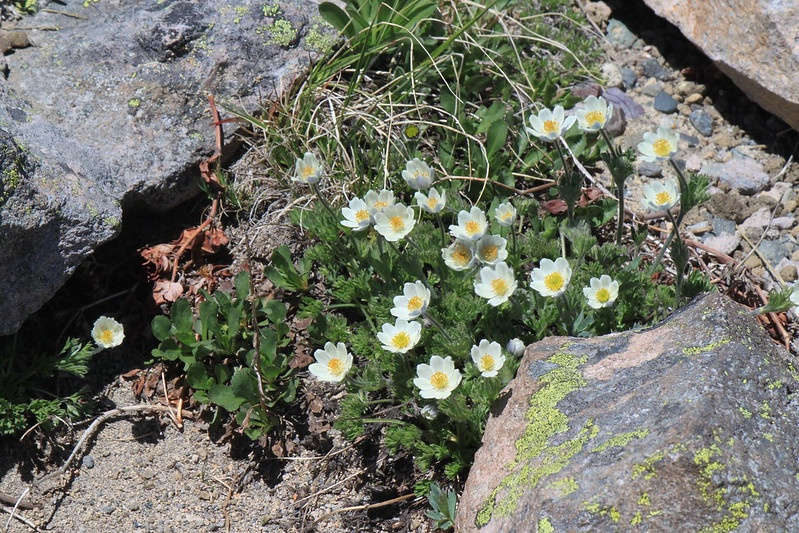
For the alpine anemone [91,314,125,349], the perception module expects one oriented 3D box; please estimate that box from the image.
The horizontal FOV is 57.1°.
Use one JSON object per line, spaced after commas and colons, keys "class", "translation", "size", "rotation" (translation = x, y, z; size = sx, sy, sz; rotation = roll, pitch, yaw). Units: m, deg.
{"class": "alpine anemone", "translation": [-2.075, 0.465, 5.231], "size": [0.166, 0.177, 0.216], "rotation": [14, 66, 30]}
